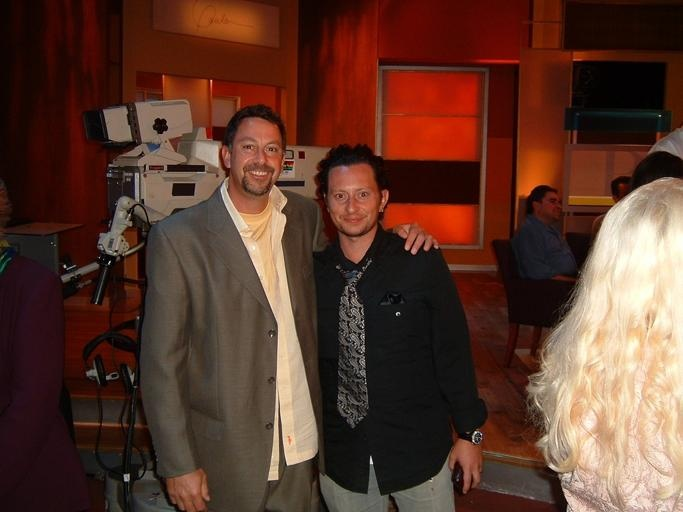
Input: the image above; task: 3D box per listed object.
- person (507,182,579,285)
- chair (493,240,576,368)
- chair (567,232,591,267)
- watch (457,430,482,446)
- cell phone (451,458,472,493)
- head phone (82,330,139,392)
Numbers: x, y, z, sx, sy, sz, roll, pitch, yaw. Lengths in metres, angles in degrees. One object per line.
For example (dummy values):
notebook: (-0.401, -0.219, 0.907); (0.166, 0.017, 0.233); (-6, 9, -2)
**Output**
person: (1.847, -0.196, 5.213); (0.682, 1.014, 0.811); (0, 1, 25)
chair: (1.730, 0.325, 4.996); (0.739, 1.033, 0.741); (0, 16, 14)
chair: (2.973, -0.085, 7.067); (0.335, 0.498, 0.341); (0, 1, 16)
watch: (0.441, 0.609, 1.937); (0.071, 0.051, 0.074); (-2, -3, -3)
cell phone: (0.415, 0.752, 1.943); (0.030, 0.105, 0.056); (2, -10, -20)
head phone: (-1.102, 0.497, 2.722); (0.242, 0.310, 0.117); (5, 26, -17)
